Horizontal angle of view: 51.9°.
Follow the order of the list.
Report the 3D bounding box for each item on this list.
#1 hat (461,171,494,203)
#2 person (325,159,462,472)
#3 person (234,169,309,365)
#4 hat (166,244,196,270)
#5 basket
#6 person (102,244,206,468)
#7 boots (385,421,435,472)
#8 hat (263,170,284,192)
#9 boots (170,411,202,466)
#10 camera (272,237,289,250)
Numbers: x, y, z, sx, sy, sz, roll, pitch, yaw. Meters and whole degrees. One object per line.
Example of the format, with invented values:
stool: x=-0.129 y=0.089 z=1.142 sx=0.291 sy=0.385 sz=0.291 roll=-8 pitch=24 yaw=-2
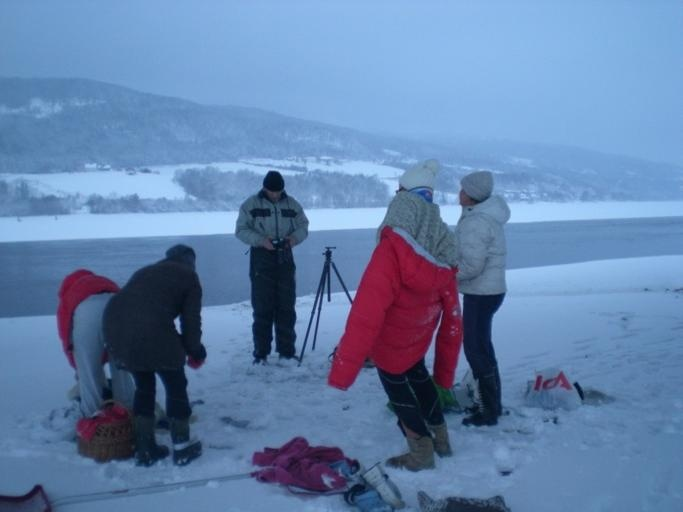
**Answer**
hat: x=1.469 y=-0.806 z=7.650 sx=0.354 sy=0.366 sz=0.277 roll=22 pitch=40 yaw=37
person: x=0.592 y=0.633 z=6.762 sx=1.325 sy=2.880 sz=0.612 roll=-4 pitch=14 yaw=-15
person: x=-0.896 y=0.111 z=9.334 sx=0.935 sy=2.429 sz=0.806 roll=-8 pitch=16 yaw=-30
hat: x=-1.650 y=-0.005 z=7.196 sx=0.214 sy=0.324 sz=0.294 roll=2 pitch=6 yaw=-6
basket: x=-2.382 y=1.756 z=7.075 sx=0.472 sy=0.490 sz=0.486 roll=2 pitch=-5 yaw=-31
person: x=-1.845 y=1.011 z=7.029 sx=0.956 sy=2.047 sz=0.763 roll=-6 pitch=14 yaw=-21
boots: x=0.720 y=1.926 z=6.952 sx=0.563 sy=0.475 sz=0.234 roll=2 pitch=0 yaw=11
hat: x=-0.890 y=-0.973 z=9.222 sx=0.246 sy=0.277 sz=0.266 roll=-2 pitch=14 yaw=-27
boots: x=-1.578 y=1.872 z=7.000 sx=0.221 sy=0.525 sz=0.497 roll=-3 pitch=6 yaw=17
camera: x=-0.791 y=-0.152 z=9.110 sx=0.228 sy=0.135 sz=0.116 roll=-4 pitch=15 yaw=-14
